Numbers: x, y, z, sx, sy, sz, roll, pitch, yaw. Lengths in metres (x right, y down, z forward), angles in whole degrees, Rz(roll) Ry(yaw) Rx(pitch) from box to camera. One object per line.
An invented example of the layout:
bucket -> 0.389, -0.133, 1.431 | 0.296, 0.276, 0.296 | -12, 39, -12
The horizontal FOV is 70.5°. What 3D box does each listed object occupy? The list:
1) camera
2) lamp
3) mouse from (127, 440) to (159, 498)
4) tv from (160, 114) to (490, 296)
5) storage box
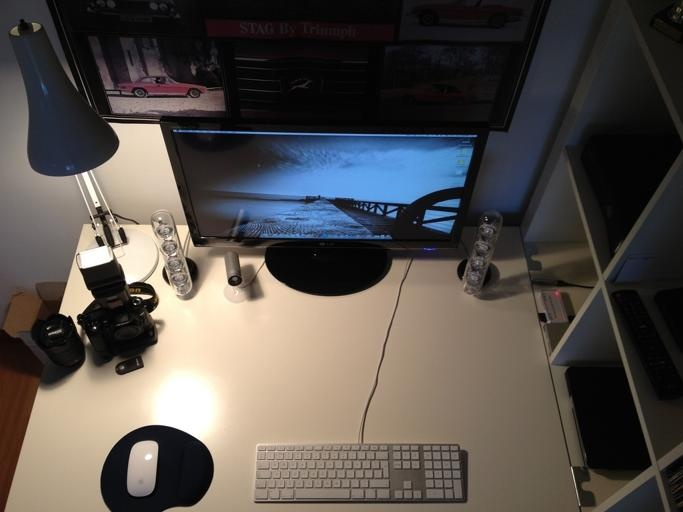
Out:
camera -> -0.745, 0.176, 1.609 | 0.233, 0.353, 0.233 | -11, 52, -11
lamp -> -0.811, -0.288, 1.522 | 0.254, 0.848, 0.536 | -19, 52, -19
mouse -> -0.579, 0.620, 1.404 | 0.079, 0.032, 0.142 | 2, 62, -10
tv -> -0.070, 0.039, 2.059 | 1.385, 0.973, 0.477 | 1, 53, -3
storage box -> -1.187, 0.243, 1.858 | 0.187, 0.208, 0.258 | -20, 65, -37
